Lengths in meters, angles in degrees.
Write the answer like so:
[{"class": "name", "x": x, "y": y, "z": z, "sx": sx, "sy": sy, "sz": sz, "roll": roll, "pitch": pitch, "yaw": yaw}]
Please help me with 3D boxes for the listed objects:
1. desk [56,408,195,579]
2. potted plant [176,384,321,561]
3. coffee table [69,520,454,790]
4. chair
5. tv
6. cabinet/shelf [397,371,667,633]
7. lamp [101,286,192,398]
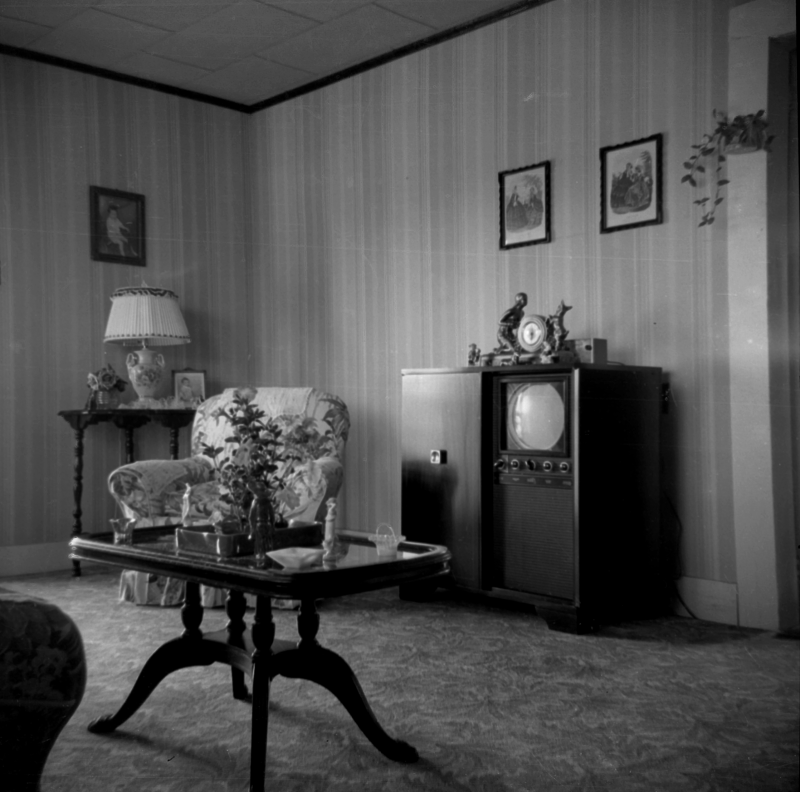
[{"class": "desk", "x": -1.524, "y": 0.525, "z": 4.601, "sx": 0.804, "sy": 1.193, "sz": 0.804, "roll": -3, "pitch": -5, "yaw": 44}, {"class": "potted plant", "x": -0.382, "y": 0.229, "z": 2.146, "sx": 0.237, "sy": 0.382, "sz": 0.275, "roll": -5, "pitch": 0, "yaw": 0}, {"class": "coffee table", "x": -0.326, "y": 0.631, "z": 2.012, "sx": 0.863, "sy": 0.498, "sz": 0.589, "roll": -2, "pitch": -3, "yaw": 39}, {"class": "chair", "x": -0.784, "y": 0.440, "z": 3.711, "sx": 0.989, "sy": 1.060, "sz": 0.924, "roll": 0, "pitch": -5, "yaw": 9}, {"class": "tv", "x": 0.572, "y": 0.184, "z": 3.334, "sx": 0.332, "sy": 0.506, "sz": 0.266, "roll": 1, "pitch": -33, "yaw": 15}, {"class": "cabinet/shelf", "x": 0.508, "y": 0.369, "z": 3.519, "sx": 0.510, "sy": 1.011, "sz": 0.953, "roll": -2, "pitch": 2, "yaw": -45}, {"class": "lamp", "x": -1.481, "y": -0.298, "z": 4.812, "sx": 0.570, "sy": 0.879, "sz": 0.628, "roll": -1, "pitch": -3, "yaw": -9}]
